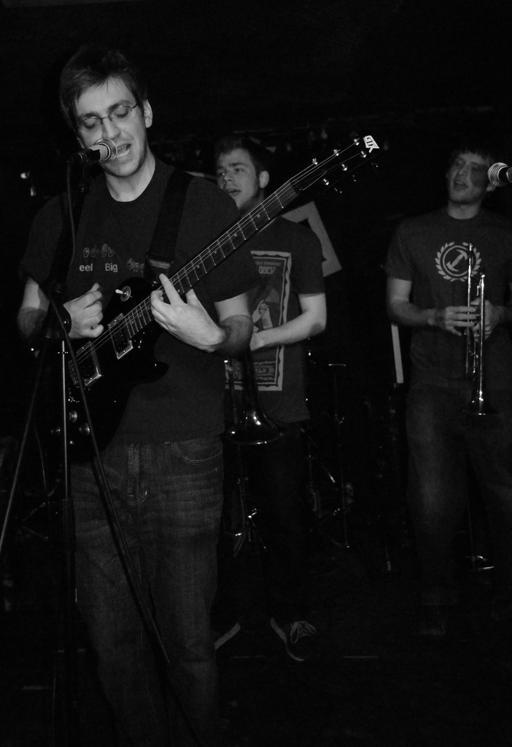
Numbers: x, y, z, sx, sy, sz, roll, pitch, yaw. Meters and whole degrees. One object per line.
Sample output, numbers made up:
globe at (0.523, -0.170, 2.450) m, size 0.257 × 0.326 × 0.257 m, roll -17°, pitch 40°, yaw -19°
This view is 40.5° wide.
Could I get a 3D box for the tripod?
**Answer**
tripod at (0.288, 0.263, 2.353) m, size 0.230 × 0.639 × 0.273 m, roll 3°, pitch 15°, yaw 3°
